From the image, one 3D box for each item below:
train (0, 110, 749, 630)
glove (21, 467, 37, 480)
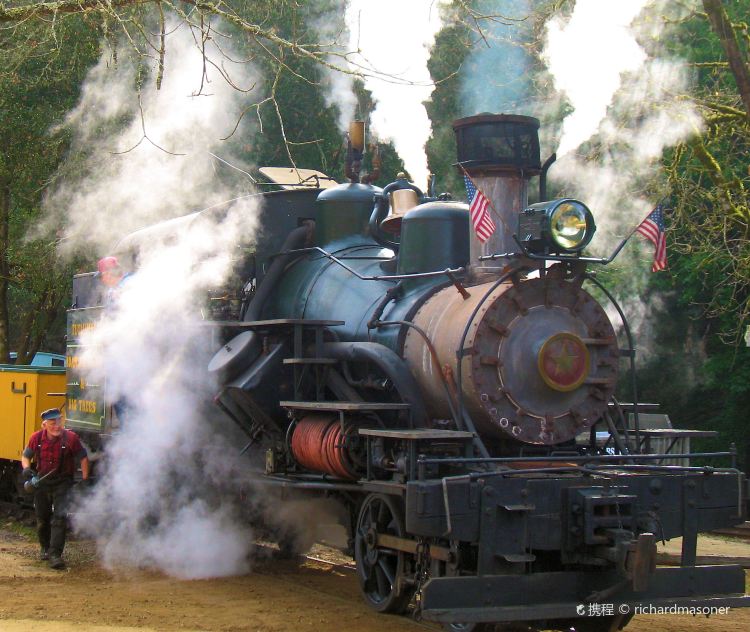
[{"bbox_3d":[0.123,0.812,10.339,2.742,3.397,8.000,2,-4,-29],"label":"train"},{"bbox_3d":[-3.717,1.685,10.170,0.122,0.143,0.158,-11,-22,36],"label":"glove"}]
